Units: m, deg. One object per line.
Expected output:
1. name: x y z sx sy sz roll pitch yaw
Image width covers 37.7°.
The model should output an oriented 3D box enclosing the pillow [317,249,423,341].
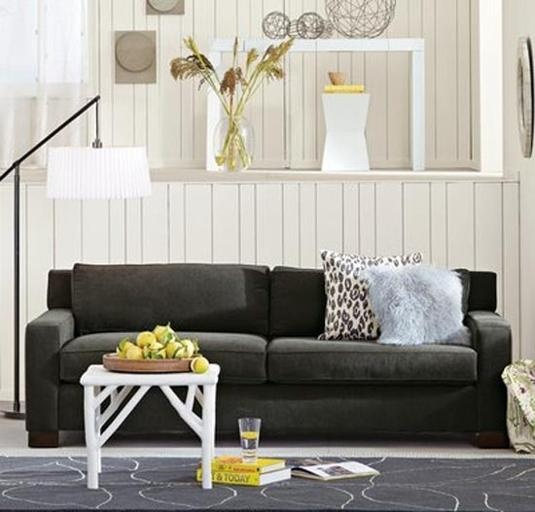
1. pillow: 0.490 0.210 3.817 0.326 0.372 0.140 -2 -5 2

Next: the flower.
1. flower: -0.257 -1.189 5.246 0.664 0.551 0.713 0 -1 -7

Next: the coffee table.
1. coffee table: -0.450 0.591 2.942 0.377 0.368 0.439 0 -4 0

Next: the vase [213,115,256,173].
1. vase: -0.204 -0.707 5.017 0.281 0.452 0.289 -1 3 -31
